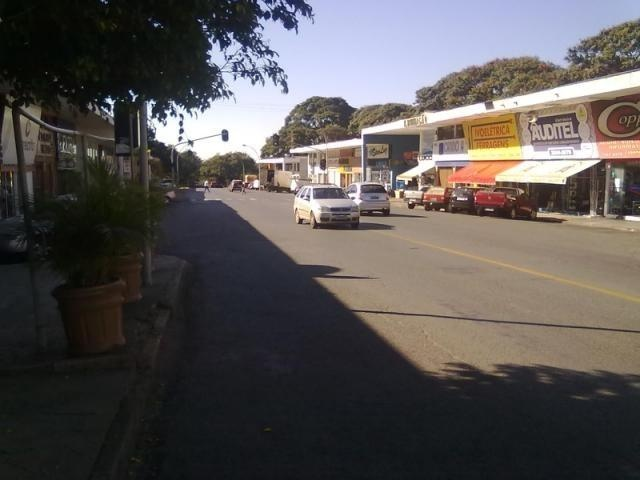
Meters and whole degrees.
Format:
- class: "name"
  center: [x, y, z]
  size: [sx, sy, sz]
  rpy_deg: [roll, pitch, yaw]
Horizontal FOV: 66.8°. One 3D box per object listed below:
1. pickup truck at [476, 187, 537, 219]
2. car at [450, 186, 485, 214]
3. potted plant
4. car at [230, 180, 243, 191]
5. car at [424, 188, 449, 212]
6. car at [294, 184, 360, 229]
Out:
- class: "pickup truck"
  center: [11.527, -2.279, 30.232]
  size: [3.508, 1.869, 2.017]
  rpy_deg: [3, 7, 21]
- class: "car"
  center: [10.094, -2.767, 33.990]
  size: [1.200, 1.344, 2.680]
  rpy_deg: [3, 10, 27]
- class: "potted plant"
  center: [-3.020, 0.142, 6.786]
  size: [1.172, 2.418, 1.692]
  rpy_deg: [-1, 6, -9]
- class: "car"
  center: [-15.377, -9.756, 88.708]
  size: [1.760, 1.578, 4.066]
  rpy_deg: [-2, 13, -10]
- class: "car"
  center: [8.608, -2.961, 35.825]
  size: [1.087, 1.701, 2.214]
  rpy_deg: [-3, 7, -30]
- class: "car"
  center: [0.268, -1.589, 22.966]
  size: [1.960, 1.909, 3.565]
  rpy_deg: [-3, 8, -26]
